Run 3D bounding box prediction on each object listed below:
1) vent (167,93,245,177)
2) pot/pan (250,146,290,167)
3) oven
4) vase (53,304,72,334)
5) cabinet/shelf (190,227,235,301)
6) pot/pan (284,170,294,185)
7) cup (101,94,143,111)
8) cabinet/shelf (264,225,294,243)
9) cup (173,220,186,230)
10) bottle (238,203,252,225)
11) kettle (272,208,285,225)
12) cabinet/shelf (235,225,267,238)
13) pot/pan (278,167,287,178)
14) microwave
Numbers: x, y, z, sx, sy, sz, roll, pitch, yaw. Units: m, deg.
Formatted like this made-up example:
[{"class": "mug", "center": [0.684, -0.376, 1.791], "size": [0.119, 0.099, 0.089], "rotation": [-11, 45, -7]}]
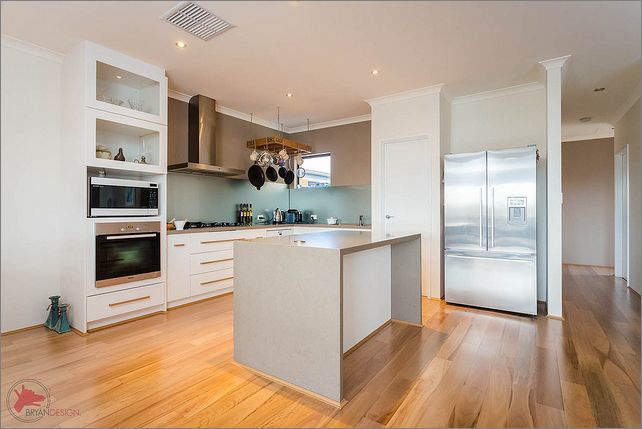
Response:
[{"class": "vent", "center": [-1.815, -1.238, 6.022], "size": [0.641, 1.133, 1.201], "rotation": [7, 8, 32]}, {"class": "pot/pan", "center": [-0.853, -0.814, 5.779], "size": [0.535, 0.191, 0.394], "rotation": [2, 5, 41]}, {"class": "oven", "center": [-2.571, 0.432, 5.072], "size": [0.753, 0.814, 0.630], "rotation": [-4, 14, -42]}, {"class": "vase", "center": [-3.092, 1.237, 4.650], "size": [0.151, 0.373, 0.140], "rotation": [-3, 1, -34]}, {"class": "cabinet/shelf", "center": [-1.734, 0.696, 5.949], "size": [0.576, 0.887, 0.974], "rotation": [3, 3, 44]}, {"class": "pot/pan", "center": [-0.551, -0.620, 6.691], "size": [0.188, 0.230, 0.057], "rotation": [-15, 25, -42]}, {"class": "cup", "center": [-2.558, -1.377, 4.985], "size": [0.359, 0.136, 0.249], "rotation": [5, 7, 26]}, {"class": "cabinet/shelf", "center": [-0.706, 0.274, 6.692], "size": [0.119, 0.155, 0.627], "rotation": [-1, 1, 34]}, {"class": "cup", "center": [-2.055, 0.160, 5.644], "size": [0.108, 0.149, 0.166], "rotation": [-4, -8, 33]}, {"class": "bottle", "center": [-1.341, 0.005, 6.800], "size": [0.149, 0.502, 0.377], "rotation": [-2, -2, 25]}, {"class": "kettle", "center": [-0.800, 0.028, 7.366], "size": [0.209, 0.224, 0.372], "rotation": [-2, 1, -1]}, {"class": "cabinet/shelf", "center": [-1.116, 0.277, 6.283], "size": [0.149, 0.155, 0.550], "rotation": [-1, 1, 32]}, {"class": "pot/pan", "center": [-0.600, -0.656, 6.064], "size": [0.149, 0.139, 0.034], "rotation": [8, 0, -40]}, {"class": "microwave", "center": [-2.516, -0.215, 4.838], "size": [0.441, 0.509, 0.818], "rotation": [1, -1, 39]}]
